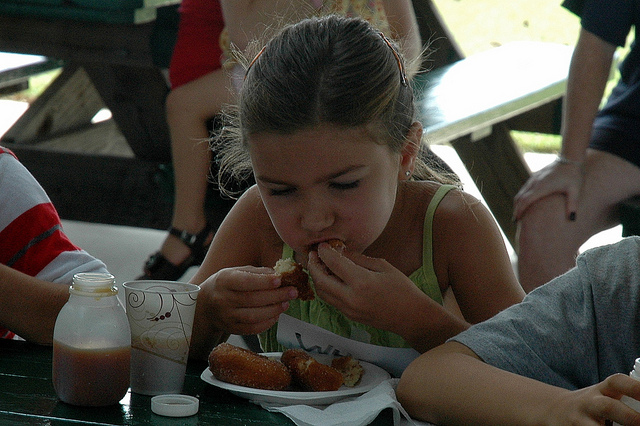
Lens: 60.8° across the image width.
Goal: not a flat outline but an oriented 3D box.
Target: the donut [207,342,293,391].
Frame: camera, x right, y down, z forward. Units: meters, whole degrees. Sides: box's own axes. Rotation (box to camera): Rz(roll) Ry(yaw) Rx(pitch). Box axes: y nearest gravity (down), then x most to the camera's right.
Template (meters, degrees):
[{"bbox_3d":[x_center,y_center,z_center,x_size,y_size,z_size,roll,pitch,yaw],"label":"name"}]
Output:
[{"bbox_3d":[-0.202,0.430,1.516,0.252,0.090,0.228,9,-15,26],"label":"donut"}]

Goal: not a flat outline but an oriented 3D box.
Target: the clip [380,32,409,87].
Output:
[{"bbox_3d":[0.246,-0.507,1.820,0.109,0.165,0.137,8,20,9],"label":"clip"}]

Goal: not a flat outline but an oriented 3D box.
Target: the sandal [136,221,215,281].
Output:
[{"bbox_3d":[-0.999,0.263,3.744,0.506,0.214,0.172,-35,15,1],"label":"sandal"}]

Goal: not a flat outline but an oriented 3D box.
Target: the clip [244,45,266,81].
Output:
[{"bbox_3d":[-0.209,-0.491,1.787,0.022,0.090,0.078,47,38,8],"label":"clip"}]

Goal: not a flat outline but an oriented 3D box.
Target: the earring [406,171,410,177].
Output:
[{"bbox_3d":[0.300,-0.134,1.866,0.010,0.014,0.004,2,2,-39],"label":"earring"}]

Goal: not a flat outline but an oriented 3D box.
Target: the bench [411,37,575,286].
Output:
[{"bbox_3d":[0.954,-0.280,2.913,0.688,1.733,0.852,1,8,15],"label":"bench"}]
